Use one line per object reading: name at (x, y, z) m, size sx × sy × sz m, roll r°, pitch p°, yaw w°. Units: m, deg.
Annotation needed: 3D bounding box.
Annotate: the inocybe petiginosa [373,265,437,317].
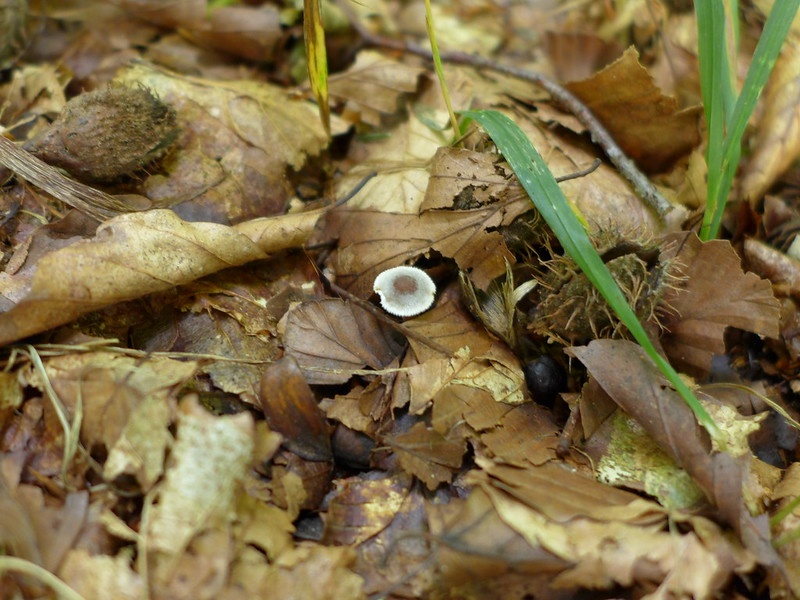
inocybe petiginosa at (0.021, -0.038, 3.175) m, size 0.217 × 0.077 × 0.213 m, roll -27°, pitch 72°, yaw 0°
